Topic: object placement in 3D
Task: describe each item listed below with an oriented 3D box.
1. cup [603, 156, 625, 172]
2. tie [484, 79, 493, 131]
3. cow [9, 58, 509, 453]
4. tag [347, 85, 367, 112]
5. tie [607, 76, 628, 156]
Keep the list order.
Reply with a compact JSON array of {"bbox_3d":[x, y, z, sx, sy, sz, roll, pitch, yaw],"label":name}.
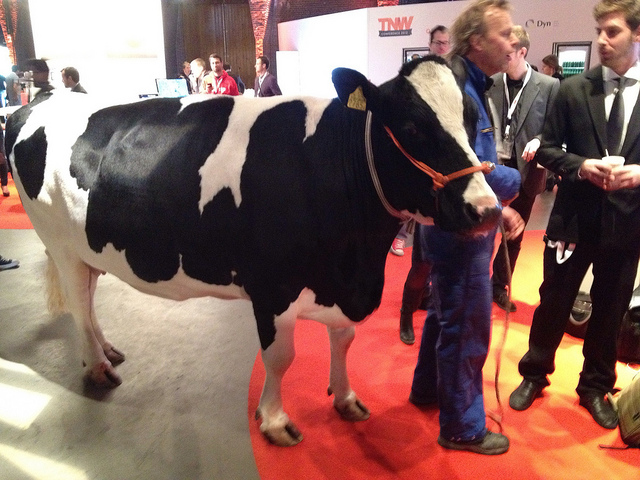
[{"bbox_3d":[1.641,-0.423,2.618,0.081,0.065,0.085,-2,8,0],"label":"cup"},{"bbox_3d":[0.913,-0.741,2.533,0.055,0.237,0.202,6,22,18],"label":"tie"},{"bbox_3d":[-0.486,0.073,2.809,2.855,2.140,0.775,8,22,21],"label":"cow"},{"bbox_3d":[0.186,-0.712,2.347,0.102,0.147,0.016,6,41,11],"label":"tag"},{"bbox_3d":[1.749,-0.722,2.771,0.119,0.389,0.063,3,10,24],"label":"tie"}]
